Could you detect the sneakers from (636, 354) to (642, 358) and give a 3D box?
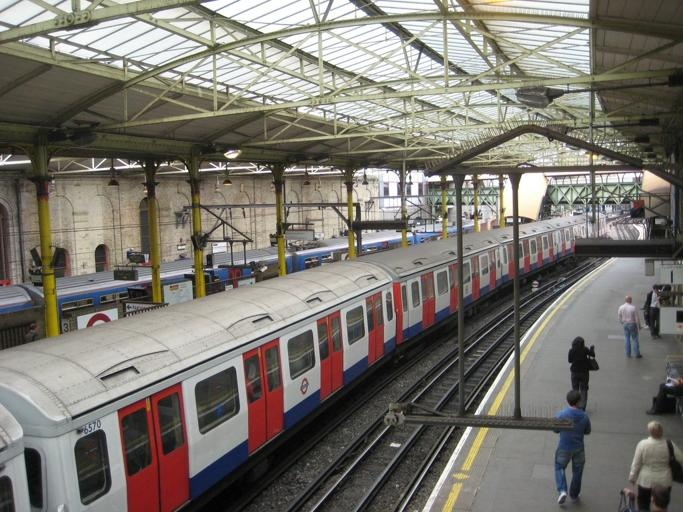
[{"bbox_3d":[8.416,2.796,15.597,0.095,0.115,0.284,5,15,37],"label":"sneakers"}]

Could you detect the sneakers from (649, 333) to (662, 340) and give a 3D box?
[{"bbox_3d":[9.894,2.508,17.340,0.409,0.261,0.132,-7,9,-11],"label":"sneakers"}]

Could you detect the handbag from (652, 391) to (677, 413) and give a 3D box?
[{"bbox_3d":[6.968,3.175,11.915,0.475,0.288,0.457,-2,-2,9],"label":"handbag"}]

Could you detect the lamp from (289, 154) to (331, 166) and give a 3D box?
[{"bbox_3d":[-1.665,-5.477,30.890,1.465,0.669,3.020,6,7,23],"label":"lamp"}]

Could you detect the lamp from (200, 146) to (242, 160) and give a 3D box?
[{"bbox_3d":[-5.030,-4.492,23.811,1.876,0.648,1.082,1,5,15],"label":"lamp"}]

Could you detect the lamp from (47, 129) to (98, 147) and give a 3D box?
[{"bbox_3d":[-8.716,-3.937,18.033,0.870,0.298,0.842,-1,5,0],"label":"lamp"}]

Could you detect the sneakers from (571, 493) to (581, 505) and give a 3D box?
[{"bbox_3d":[3.825,3.991,9.034,0.085,0.100,0.247,2,5,26],"label":"sneakers"}]

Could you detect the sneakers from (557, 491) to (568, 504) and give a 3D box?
[{"bbox_3d":[3.606,3.939,8.983,0.121,0.125,0.297,2,-31,5],"label":"sneakers"}]
